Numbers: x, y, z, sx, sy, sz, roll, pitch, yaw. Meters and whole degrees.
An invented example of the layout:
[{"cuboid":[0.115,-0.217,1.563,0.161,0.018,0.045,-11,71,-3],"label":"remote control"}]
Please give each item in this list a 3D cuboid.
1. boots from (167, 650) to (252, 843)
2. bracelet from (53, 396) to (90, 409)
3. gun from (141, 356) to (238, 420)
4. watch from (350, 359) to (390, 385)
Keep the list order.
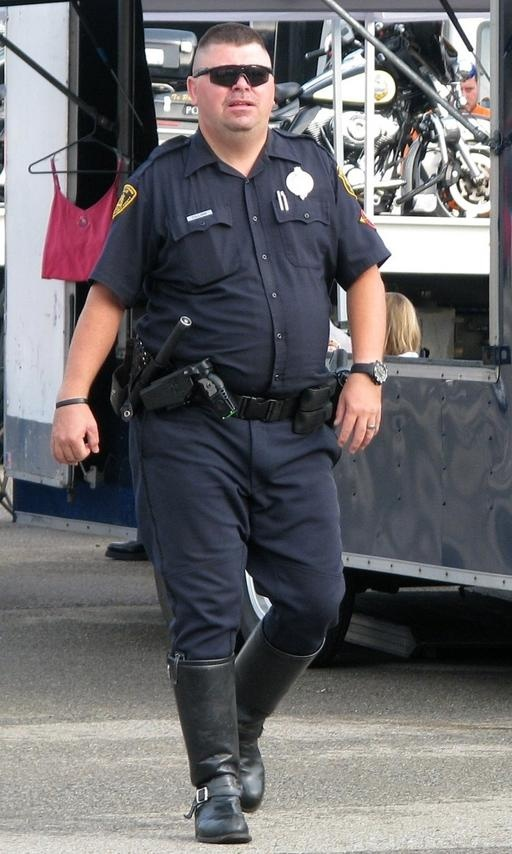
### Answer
[{"cuboid":[-0.089,0.641,2.299,0.156,0.288,0.371,1,3,-8],"label":"boots"},{"cuboid":[-0.387,-0.046,2.418,0.066,0.024,0.067,0,-1,-2],"label":"bracelet"},{"cuboid":[-0.146,-0.075,2.366,0.196,0.113,0.067,-1,0,31],"label":"gun"},{"cuboid":[0.252,-0.113,2.545,0.070,0.046,0.073,11,-42,-5],"label":"watch"}]
